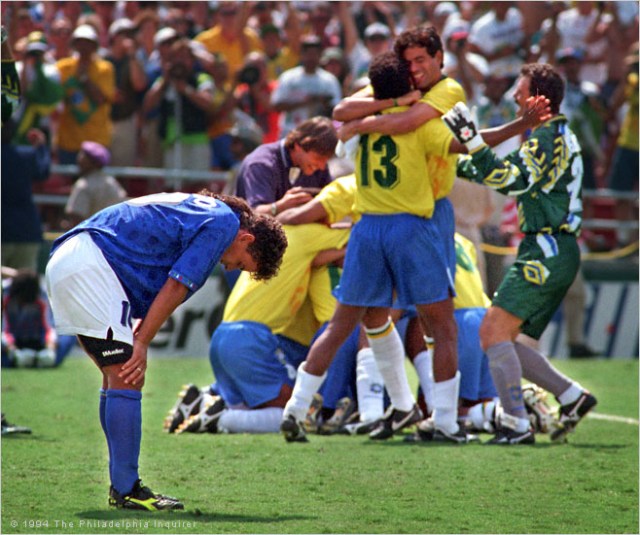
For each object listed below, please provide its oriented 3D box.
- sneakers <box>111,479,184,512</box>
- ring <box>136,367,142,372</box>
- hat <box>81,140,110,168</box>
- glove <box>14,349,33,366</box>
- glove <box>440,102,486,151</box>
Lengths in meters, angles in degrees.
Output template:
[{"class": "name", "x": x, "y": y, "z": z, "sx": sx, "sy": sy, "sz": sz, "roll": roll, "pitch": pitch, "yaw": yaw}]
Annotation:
[{"class": "sneakers", "x": -0.902, "y": 1.196, "z": 5.954, "sx": 0.415, "sy": 0.182, "sz": 0.147, "roll": 1, "pitch": -6, "yaw": 1}, {"class": "ring", "x": -0.925, "y": 0.530, "z": 5.905, "sx": 0.019, "sy": 0.021, "sz": 0.005, "roll": -1, "pitch": 2, "yaw": -20}, {"class": "hat", "x": -2.243, "y": -1.165, "z": 11.469, "sx": 0.239, "sy": 0.277, "sz": 0.572, "roll": -2, "pitch": 5, "yaw": -13}, {"class": "glove", "x": -2.944, "y": 0.916, "z": 11.459, "sx": 0.193, "sy": 0.175, "sz": 0.118, "roll": -3, "pitch": 5, "yaw": -14}, {"class": "glove", "x": 0.852, "y": -0.843, "z": 6.757, "sx": 0.261, "sy": 0.309, "sz": 0.216, "roll": -1, "pitch": 5, "yaw": 2}]
